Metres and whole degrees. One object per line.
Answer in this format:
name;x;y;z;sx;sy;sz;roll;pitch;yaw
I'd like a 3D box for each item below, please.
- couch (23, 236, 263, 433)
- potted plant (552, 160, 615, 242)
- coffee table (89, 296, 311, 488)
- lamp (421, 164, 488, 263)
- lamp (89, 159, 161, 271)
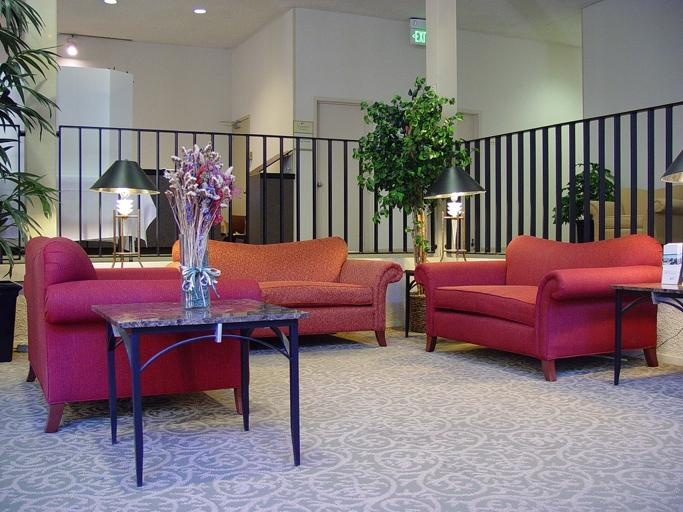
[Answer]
couch;-1.204;0.338;3.198;0.943;0.900;1.301;-1;2;-30
potted plant;3.011;-0.595;6.606;0.652;0.971;0.721;11;-1;5
coffee table;-0.627;0.420;2.327;0.735;0.648;0.729;-1;0;-24
lamp;0.986;-0.371;4.823;0.563;0.836;0.574;-2;-1;39
lamp;-1.738;-0.320;4.407;0.491;0.854;0.479;-1;2;-19
